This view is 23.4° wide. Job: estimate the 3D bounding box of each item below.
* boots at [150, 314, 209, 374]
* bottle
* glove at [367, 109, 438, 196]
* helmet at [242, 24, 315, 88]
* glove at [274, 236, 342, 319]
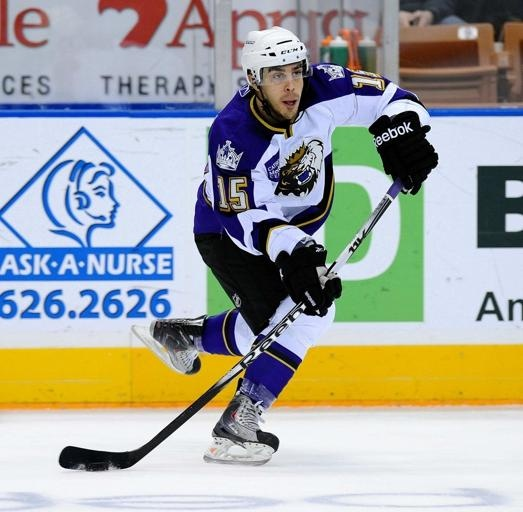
[{"bbox_3d":[-0.302,0.322,4.557,0.196,0.189,0.075,-18,12,29],"label":"boots"},{"bbox_3d":[0.346,-0.830,5.048,0.259,0.220,0.130,5,-5,-12],"label":"bottle"},{"bbox_3d":[0.454,-0.346,4.116,0.241,0.264,0.107,-31,-6,26],"label":"glove"},{"bbox_3d":[0.024,-0.640,4.023,0.181,0.197,0.218,-13,7,-13],"label":"helmet"},{"bbox_3d":[0.114,0.065,4.000,0.214,0.230,0.105,17,-36,-39],"label":"glove"}]
